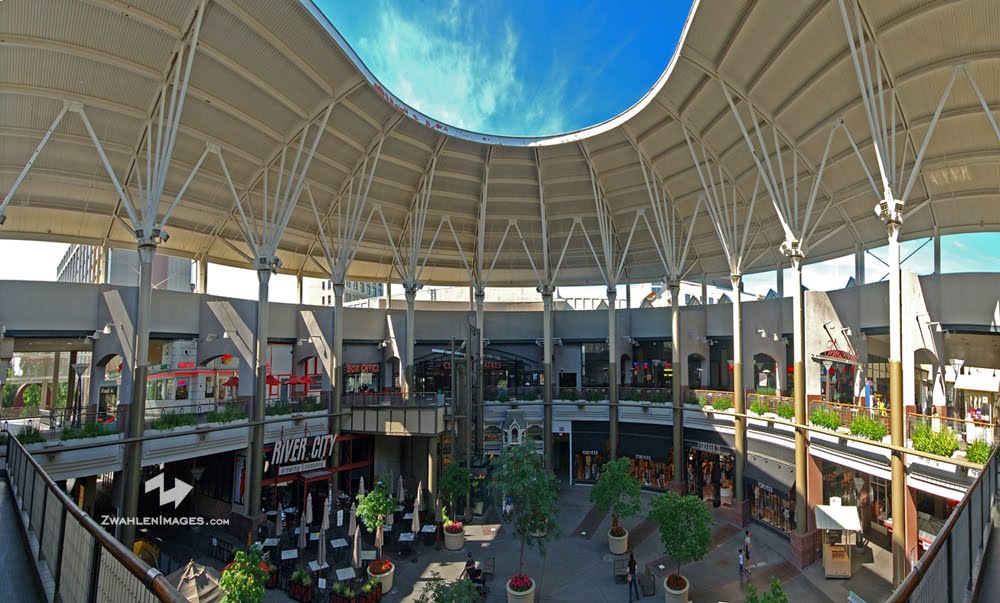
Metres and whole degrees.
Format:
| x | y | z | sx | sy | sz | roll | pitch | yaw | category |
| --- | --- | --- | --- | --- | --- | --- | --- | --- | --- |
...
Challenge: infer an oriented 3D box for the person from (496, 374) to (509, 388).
| x | y | z | sx | sy | sz | roll | pitch | yaw | category |
| --- | --- | --- | --- | --- | --- | --- | --- | --- | --- |
| 0.450 | 8.115 | 64.358 | 0.955 | 1.728 | 0.933 | 16 | -23 | -42 | person |
